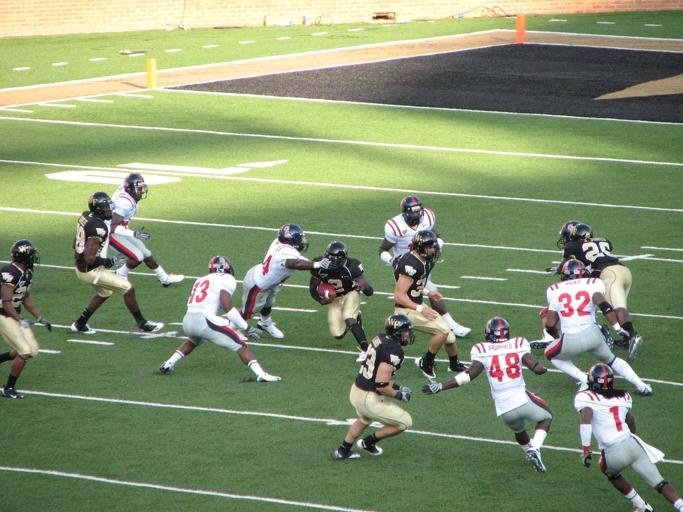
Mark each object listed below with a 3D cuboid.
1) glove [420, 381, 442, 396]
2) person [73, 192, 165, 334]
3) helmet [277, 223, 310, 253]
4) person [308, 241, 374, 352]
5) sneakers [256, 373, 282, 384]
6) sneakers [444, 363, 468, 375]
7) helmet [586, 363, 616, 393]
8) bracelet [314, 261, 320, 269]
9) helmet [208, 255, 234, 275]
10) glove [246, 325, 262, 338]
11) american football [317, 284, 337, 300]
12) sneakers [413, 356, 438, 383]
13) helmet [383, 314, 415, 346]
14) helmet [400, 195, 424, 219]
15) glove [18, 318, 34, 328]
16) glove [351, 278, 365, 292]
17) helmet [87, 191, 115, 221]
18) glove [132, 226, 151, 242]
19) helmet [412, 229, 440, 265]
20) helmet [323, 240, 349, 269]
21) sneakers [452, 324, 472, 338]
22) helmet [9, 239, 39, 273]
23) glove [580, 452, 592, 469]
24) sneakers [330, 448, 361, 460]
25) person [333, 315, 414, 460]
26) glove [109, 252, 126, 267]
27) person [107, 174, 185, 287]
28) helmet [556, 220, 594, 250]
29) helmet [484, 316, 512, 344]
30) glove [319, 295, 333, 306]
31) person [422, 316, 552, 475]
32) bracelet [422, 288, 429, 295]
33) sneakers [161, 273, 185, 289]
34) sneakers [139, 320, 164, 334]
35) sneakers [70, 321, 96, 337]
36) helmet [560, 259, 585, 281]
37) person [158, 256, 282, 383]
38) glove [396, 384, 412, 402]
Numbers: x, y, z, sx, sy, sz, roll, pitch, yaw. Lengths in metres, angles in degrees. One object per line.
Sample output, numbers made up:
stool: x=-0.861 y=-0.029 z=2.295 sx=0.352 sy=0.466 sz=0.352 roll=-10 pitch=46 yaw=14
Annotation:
glove: x=0.956 y=1.398 z=13.135 sx=0.220 sy=0.102 sz=0.158 roll=-1 pitch=4 yaw=-14
person: x=-3.066 y=0.088 z=16.508 sx=1.024 sy=1.874 sz=0.436 roll=-1 pitch=5 yaw=-9
helmet: x=-0.555 y=-0.263 z=16.307 sx=0.460 sy=0.323 sz=0.323 roll=8 pitch=14 yaw=-18
person: x=-0.009 y=0.506 z=16.164 sx=0.864 sy=1.439 sz=1.909 roll=-7 pitch=10 yaw=-6
sneakers: x=-0.874 y=1.489 z=15.045 sx=0.331 sy=0.114 sz=0.105 roll=-1 pitch=22 yaw=-5
sneakers: x=1.408 y=1.407 z=15.443 sx=0.319 sy=0.112 sz=0.097 roll=-7 pitch=25 yaw=18
helmet: x=2.641 y=1.230 z=12.632 sx=0.249 sy=0.266 sz=0.285 roll=0 pitch=4 yaw=7
bracelet: x=-0.297 y=0.114 z=15.664 sx=0.085 sy=0.069 sz=0.079 roll=8 pitch=15 yaw=28
helmet: x=-1.426 y=0.110 z=15.383 sx=0.334 sy=0.258 sz=0.243 roll=-3 pitch=6 yaw=-20
glove: x=-1.140 y=1.007 z=16.389 sx=0.101 sy=0.119 sz=0.277 roll=-47 pitch=29 yaw=-22
american football: x=-0.170 y=0.460 z=15.803 sx=0.180 sy=0.164 sz=0.241 roll=-6 pitch=13 yaw=-43
sneakers: x=1.062 y=1.430 z=15.382 sx=0.196 sy=0.381 sz=0.143 roll=-35 pitch=8 yaw=33
helmet: x=0.629 y=0.793 z=13.324 sx=0.291 sy=0.343 sz=0.309 roll=0 pitch=4 yaw=1
helmet: x=0.915 y=-0.687 z=16.450 sx=0.251 sy=0.231 sz=0.299 roll=-13 pitch=39 yaw=-18
glove: x=-3.660 y=0.792 z=14.472 sx=0.069 sy=0.087 sz=0.161 roll=-15 pitch=-12 yaw=17
glove: x=0.237 y=0.358 z=15.905 sx=0.204 sy=0.168 sz=0.120 roll=4 pitch=-4 yaw=27
helmet: x=-3.131 y=-0.685 z=16.515 sx=0.410 sy=0.347 sz=0.316 roll=-1 pitch=14 yaw=-22
glove: x=-2.934 y=-0.328 z=18.340 sx=0.325 sy=0.092 sz=0.238 roll=19 pitch=39 yaw=1
helmet: x=1.049 y=-0.117 z=15.287 sx=0.331 sy=0.425 sz=0.431 roll=0 pitch=4 yaw=3
helmet: x=0.012 y=-0.058 z=15.606 sx=0.282 sy=0.290 sz=0.329 roll=18 pitch=48 yaw=9
sneakers: x=1.577 y=0.991 z=16.332 sx=0.267 sy=0.095 sz=0.132 roll=8 pitch=19 yaw=32
helmet: x=-3.749 y=-0.033 z=14.705 sx=0.341 sy=0.312 sz=0.275 roll=-3 pitch=6 yaw=-38
glove: x=2.505 y=2.094 z=12.609 sx=0.070 sy=0.120 sz=0.204 roll=7 pitch=-31 yaw=0
sneakers: x=0.047 y=2.152 z=13.376 sx=0.352 sy=0.132 sz=0.105 roll=-4 pitch=31 yaw=-13
person: x=0.377 y=1.527 z=13.916 sx=1.007 sy=1.755 sz=0.732 roll=0 pitch=41 yaw=-15
glove: x=-3.164 y=0.048 z=17.667 sx=0.238 sy=0.071 sz=0.233 roll=-20 pitch=-15 yaw=31
person: x=-2.823 y=-0.296 z=17.718 sx=1.153 sy=1.619 sz=1.138 roll=-15 pitch=15 yaw=-31
helmet: x=3.094 y=-0.275 z=16.348 sx=0.516 sy=0.359 sz=0.395 roll=7 pitch=16 yaw=39
helmet: x=1.714 y=0.792 z=13.414 sx=0.255 sy=0.230 sz=0.307 roll=-1 pitch=5 yaw=-9
glove: x=-0.184 y=0.555 z=15.861 sx=0.146 sy=0.057 sz=0.150 roll=0 pitch=-12 yaw=1
person: x=1.704 y=1.465 z=13.240 sx=1.041 sy=1.579 sz=0.794 roll=1 pitch=5 yaw=15
bracelet: x=1.196 y=0.496 z=17.454 sx=0.123 sy=0.135 sz=0.054 roll=-1 pitch=4 yaw=11
sneakers: x=-2.395 y=0.362 z=17.746 sx=0.325 sy=0.119 sz=0.173 roll=-14 pitch=23 yaw=13
sneakers: x=-2.516 y=0.949 z=16.560 sx=0.308 sy=0.116 sz=0.143 roll=-2 pitch=40 yaw=8
sneakers: x=-3.376 y=0.968 z=16.463 sx=0.380 sy=0.151 sz=0.148 roll=5 pitch=25 yaw=-11
helmet: x=2.746 y=0.166 z=14.715 sx=0.256 sy=0.227 sz=0.269 roll=1 pitch=27 yaw=12
person: x=-1.426 y=0.794 z=15.451 sx=1.892 sy=1.400 sz=1.059 roll=3 pitch=1 yaw=33
glove: x=0.667 y=1.469 z=13.112 sx=0.134 sy=0.168 sz=0.245 roll=0 pitch=4 yaw=1
